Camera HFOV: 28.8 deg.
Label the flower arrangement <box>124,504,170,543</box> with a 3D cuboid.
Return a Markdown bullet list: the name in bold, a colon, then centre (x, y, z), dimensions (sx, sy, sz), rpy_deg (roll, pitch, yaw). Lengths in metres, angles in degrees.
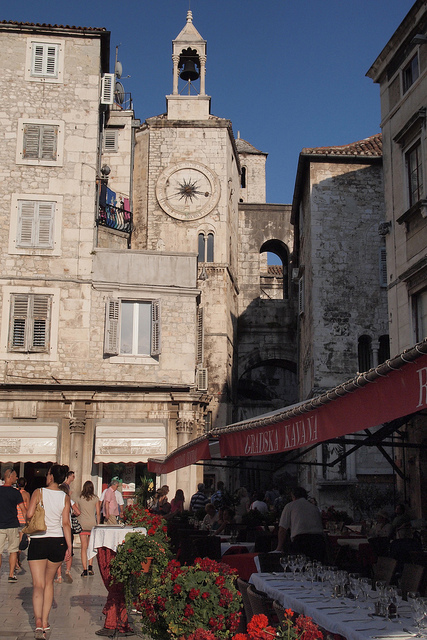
- **flower arrangement**: centre (-0.672, 1.998, 8.263), dimensions (0.370, 0.224, 0.388), rpy_deg (25, 3, 24)

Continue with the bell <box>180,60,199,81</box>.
- **bell**: centre (-1.184, -11.692, 39.311), dimensions (0.803, 1.047, 0.638), rpy_deg (2, -11, -4)

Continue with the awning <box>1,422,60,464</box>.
- **awning**: centre (-4.751, 3.155, 21.307), dimensions (1.287, 0.987, 0.495), rpy_deg (0, -19, -7)

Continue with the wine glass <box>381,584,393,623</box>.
- **wine glass**: centre (1.149, 1.876, 5.517), dimensions (0.077, 0.207, 0.210), rpy_deg (-2, -12, 12)

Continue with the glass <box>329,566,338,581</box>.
- **glass**: centre (0.930, 1.972, 6.501), dimensions (0.054, 0.108, 0.062), rpy_deg (-3, -5, 13)

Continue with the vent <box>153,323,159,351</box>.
- **vent**: centre (-1.590, 0.452, 22.644), dimensions (0.191, 0.774, 0.198), rpy_deg (0, -11, 2)

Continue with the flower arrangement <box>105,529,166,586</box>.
- **flower arrangement**: centre (-0.638, 2.144, 7.794), dimensions (0.439, 0.350, 0.386), rpy_deg (-13, -30, -8)

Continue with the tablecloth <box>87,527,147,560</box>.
- **tablecloth**: centre (-1.065, 2.283, 8.742), dimensions (0.485, 0.315, 0.512), rpy_deg (4, -13, -26)

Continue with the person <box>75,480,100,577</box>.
- **person**: centre (-1.987, 3.263, 12.978), dimensions (0.376, 1.434, 0.417), rpy_deg (6, -12, -25)

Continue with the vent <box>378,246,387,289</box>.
- **vent**: centre (5.440, -1.698, 26.882), dimensions (0.233, 1.388, 0.167), rpy_deg (2, -11, -6)

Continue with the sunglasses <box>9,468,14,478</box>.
- **sunglasses**: centre (-2.830, 2.137, 11.550), dimensions (0.041, 0.118, 0.354), rpy_deg (3, -13, -14)

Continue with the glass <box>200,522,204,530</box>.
- **glass**: centre (-0.223, 3.712, 15.109), dimensions (0.070, 0.155, 0.078), rpy_deg (1, -14, -5)

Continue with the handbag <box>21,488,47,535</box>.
- **handbag**: centre (-1.720, 1.845, 8.015), dimensions (0.205, 0.436, 0.379), rpy_deg (4, -12, -17)

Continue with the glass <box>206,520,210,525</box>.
- **glass**: centre (-0.116, 3.686, 15.172), dimensions (0.055, 0.066, 0.227), rpy_deg (2, -13, -6)

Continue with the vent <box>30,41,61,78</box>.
- **vent**: centre (-4.956, -7.568, 24.323), dimensions (0.941, 1.290, 0.154), rpy_deg (1, -18, -6)

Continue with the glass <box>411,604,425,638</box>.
- **glass**: centre (1.242, 1.803, 5.046), dimensions (0.047, 0.157, 0.117), rpy_deg (2, -12, -6)

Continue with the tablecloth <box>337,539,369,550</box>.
- **tablecloth**: centre (1.919, 3.098, 11.592), dimensions (0.372, 0.108, 0.406), rpy_deg (4, -12, -10)

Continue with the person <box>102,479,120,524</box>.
- **person**: centre (-1.718, 3.001, 13.773), dimensions (0.247, 0.717, 1.053), rpy_deg (2, -12, -7)

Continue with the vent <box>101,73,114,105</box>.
- **vent**: centre (-3.168, -6.865, 24.646), dimensions (0.354, 1.080, 0.519), rpy_deg (2, -11, -7)

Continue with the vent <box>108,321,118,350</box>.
- **vent**: centre (-2.731, 0.417, 22.388), dimensions (0.128, 0.817, 0.376), rpy_deg (-5, -13, 29)

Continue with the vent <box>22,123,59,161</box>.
- **vent**: centre (-5.019, -5.050, 23.783), dimensions (0.934, 1.123, 0.147), rpy_deg (1, -13, -6)

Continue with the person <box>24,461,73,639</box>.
- **person**: centre (-1.631, 2.194, 7.957), dimensions (0.384, 1.606, 0.716), rpy_deg (0, -11, 3)
